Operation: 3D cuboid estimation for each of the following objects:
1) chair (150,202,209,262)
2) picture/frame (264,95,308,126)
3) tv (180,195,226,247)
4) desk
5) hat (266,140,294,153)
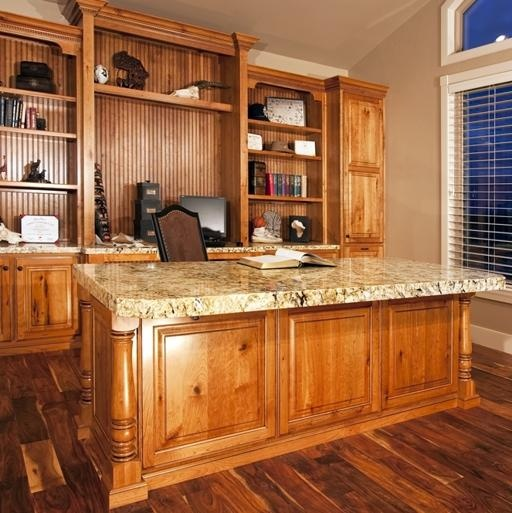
[{"bbox_3d":[-0.464,-0.140,3.000,0.263,0.357,0.370,1,6,10],"label":"chair"},{"bbox_3d":[0.301,-1.551,5.101,0.533,0.327,0.054,4,-11,-31],"label":"picture/frame"},{"bbox_3d":[-0.433,-0.298,3.924,0.556,0.475,0.185,-3,5,-29],"label":"tv"},{"bbox_3d":[0.160,0.469,2.234,1.735,0.833,0.886,-3,7,-26],"label":"desk"},{"bbox_3d":[0.210,-1.142,5.031,0.331,0.147,0.213,6,9,43],"label":"hat"}]
